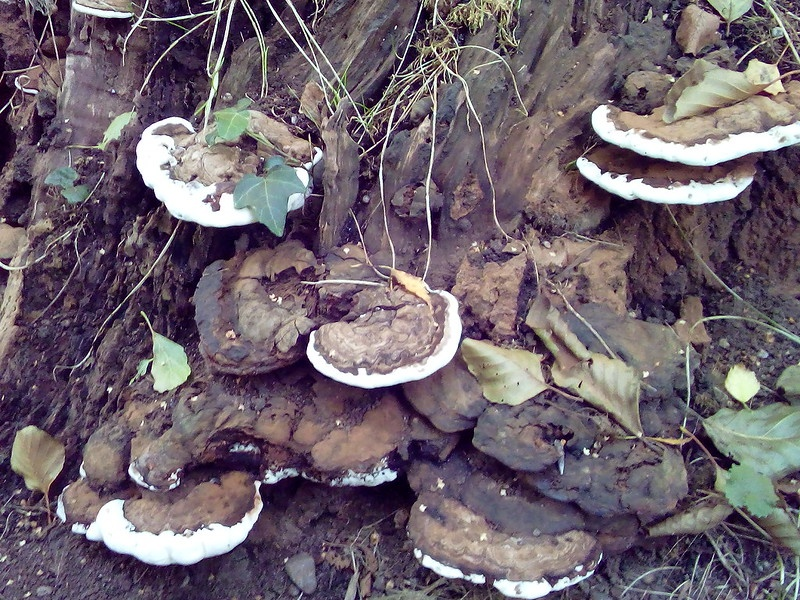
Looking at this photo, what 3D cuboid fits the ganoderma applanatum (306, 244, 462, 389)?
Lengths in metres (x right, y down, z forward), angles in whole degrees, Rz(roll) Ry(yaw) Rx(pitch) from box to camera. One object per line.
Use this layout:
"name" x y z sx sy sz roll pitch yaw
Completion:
"ganoderma applanatum" -0.062 0.234 4.397 0.935 0.217 0.693 -33 74 -23

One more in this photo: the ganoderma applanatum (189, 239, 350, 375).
"ganoderma applanatum" -0.806 0.200 4.599 0.806 0.275 0.892 -1 29 7

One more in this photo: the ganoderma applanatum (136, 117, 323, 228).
"ganoderma applanatum" -1.121 -0.824 4.481 1.126 0.296 0.814 13 62 -5
